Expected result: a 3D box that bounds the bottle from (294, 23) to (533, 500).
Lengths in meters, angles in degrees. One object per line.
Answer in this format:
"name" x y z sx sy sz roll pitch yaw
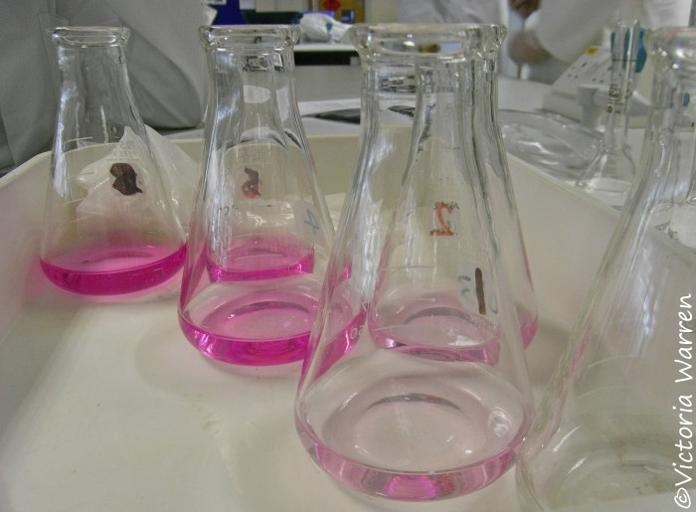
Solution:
"bottle" 0.037 0.004 0.311 0.123 0.216 0.104 8 26 17
